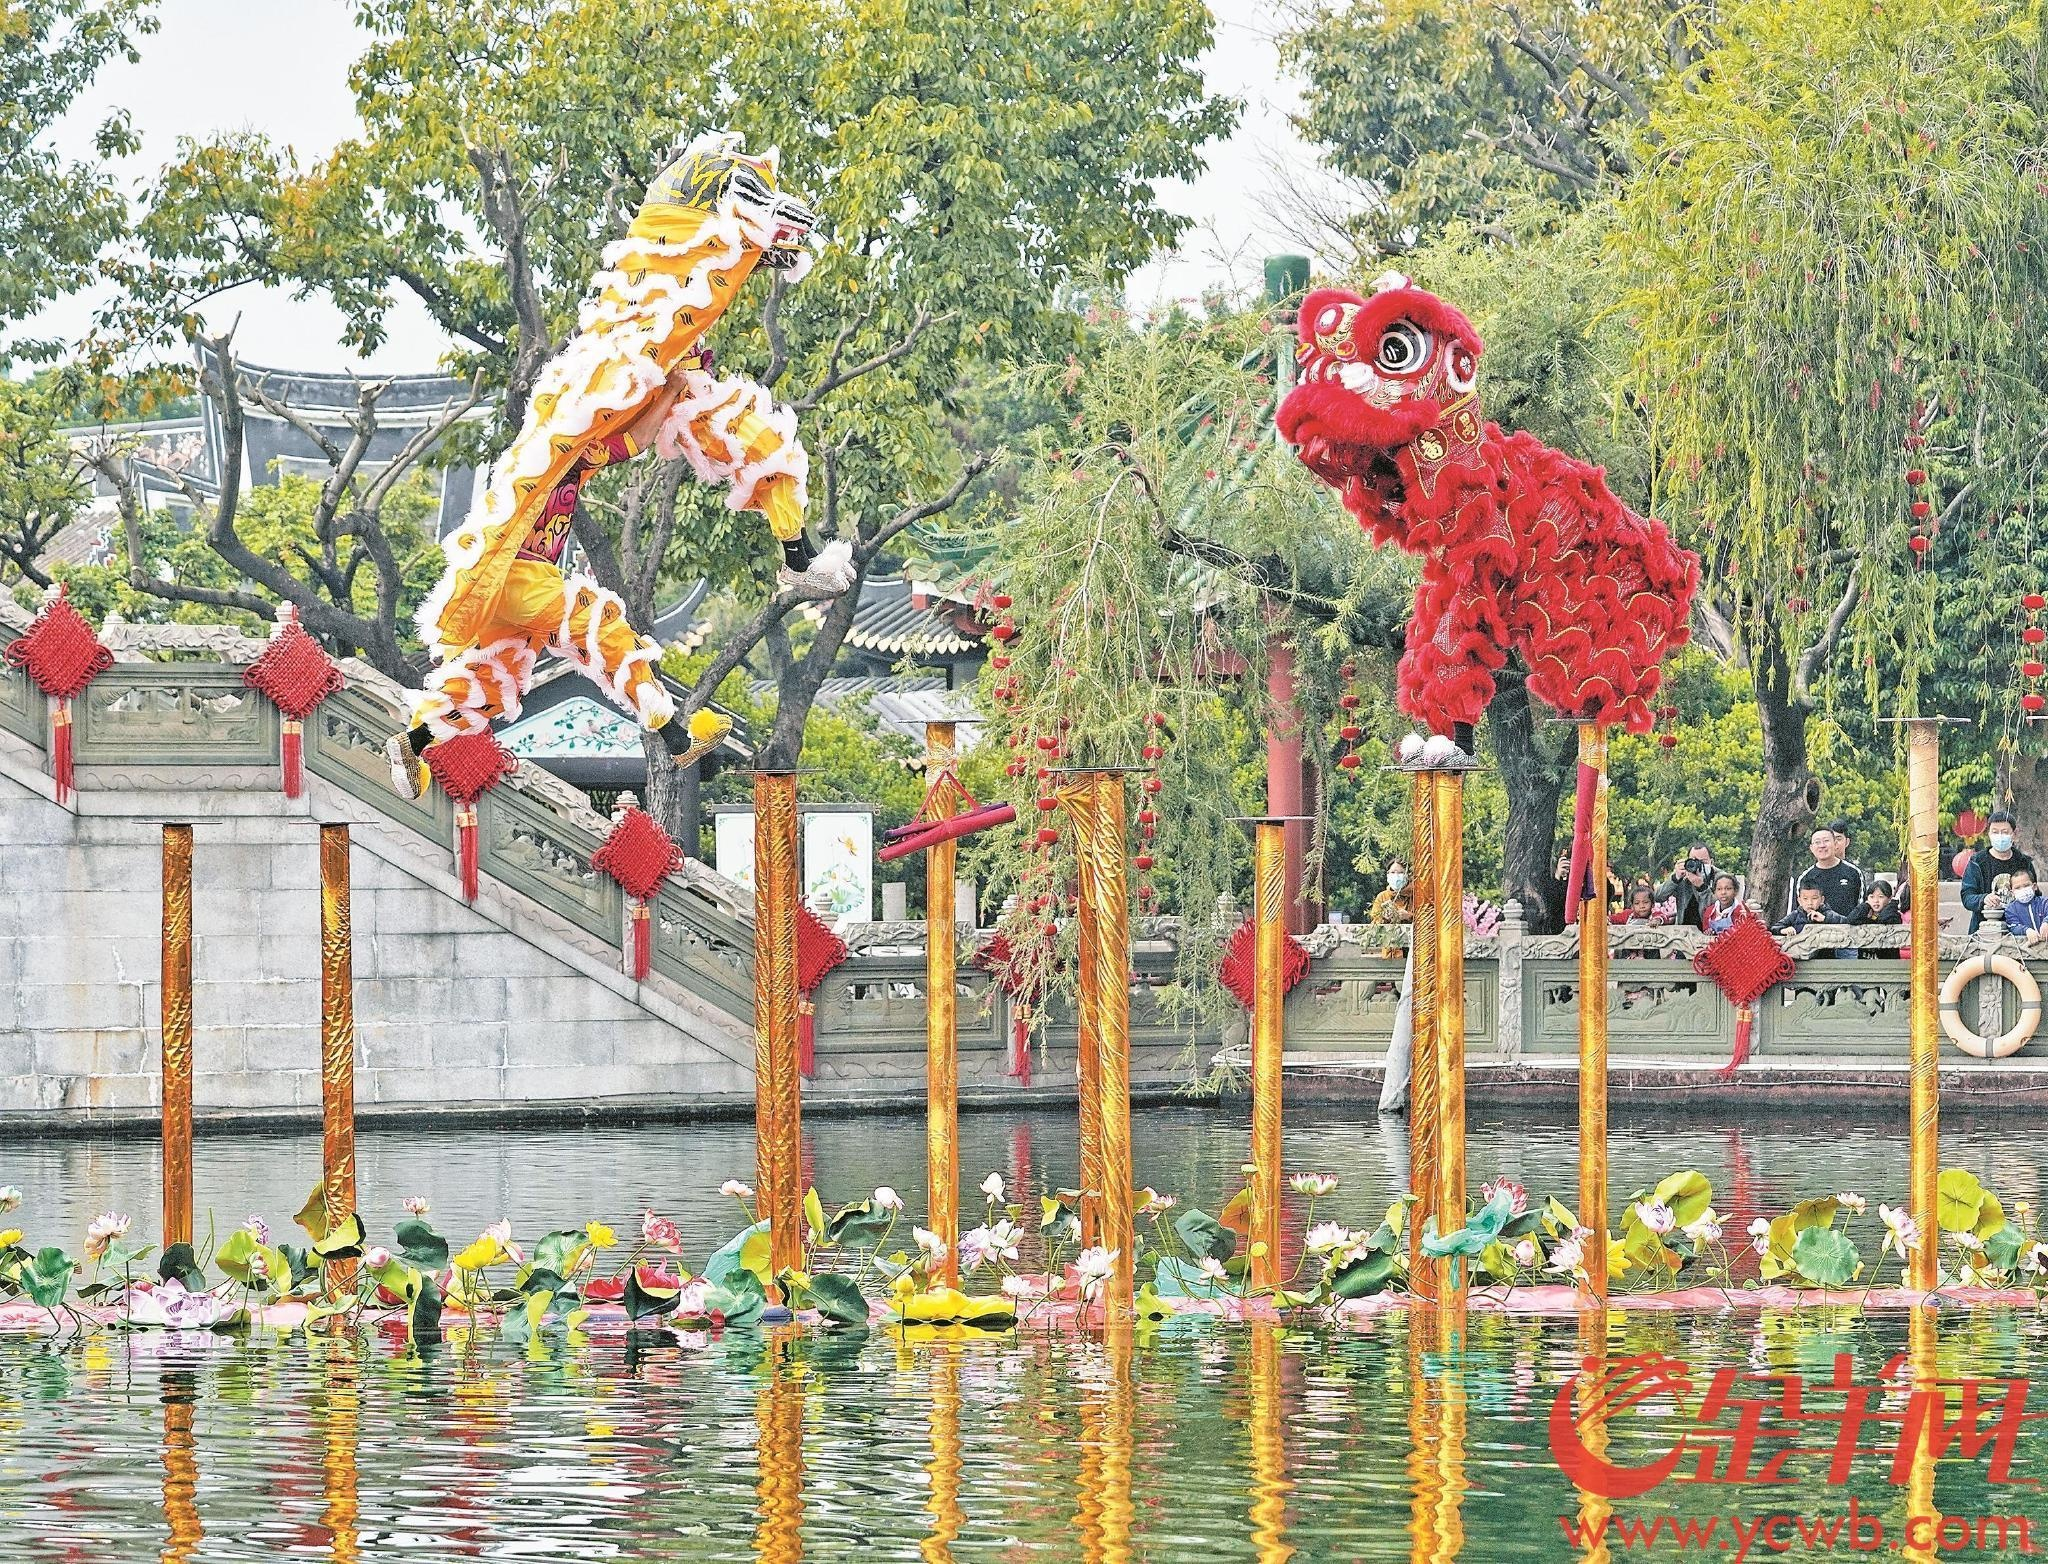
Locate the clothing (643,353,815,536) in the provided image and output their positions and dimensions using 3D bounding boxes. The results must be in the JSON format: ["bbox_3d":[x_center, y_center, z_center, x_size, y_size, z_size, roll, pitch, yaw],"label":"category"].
[{"bbox_3d":[-1.792,-2.103,45.441,0.484,1.216,0.741,-41,-22,-13],"label":"clothing"}]

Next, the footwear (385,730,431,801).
[{"bbox_3d":[-4.156,-0.102,48.471,0.202,0.481,0.162,-14,10,-12],"label":"footwear"}]

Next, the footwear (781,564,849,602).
[{"bbox_3d":[-1.285,-1.269,44.947,0.329,0.122,0.235,-8,39,31],"label":"footwear"}]

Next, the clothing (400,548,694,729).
[{"bbox_3d":[-3.056,-0.707,45.005,1.226,0.771,1.231,-24,32,-9],"label":"clothing"}]

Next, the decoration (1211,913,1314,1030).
[{"bbox_3d":[1.809,1.331,53.792,0.686,0.689,0.209,-45,10,-5],"label":"decoration"}]

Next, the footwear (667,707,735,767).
[{"bbox_3d":[-2.307,-0.321,51.001,0.587,0.193,0.267,-42,-6,2],"label":"footwear"}]

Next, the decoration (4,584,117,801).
[{"bbox_3d":[-7.145,-0.612,53.063,0.726,1.582,0.398,5,-13,-38],"label":"decoration"}]

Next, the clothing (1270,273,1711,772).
[{"bbox_3d":[2.936,-1.778,46.611,2.568,2.887,1.097,5,-12,-37],"label":"clothing"}]

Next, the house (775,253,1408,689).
[{"bbox_3d":[1.330,-2.328,52.134,3.123,1.673,3.117,-4,35,-32],"label":"house"}]
